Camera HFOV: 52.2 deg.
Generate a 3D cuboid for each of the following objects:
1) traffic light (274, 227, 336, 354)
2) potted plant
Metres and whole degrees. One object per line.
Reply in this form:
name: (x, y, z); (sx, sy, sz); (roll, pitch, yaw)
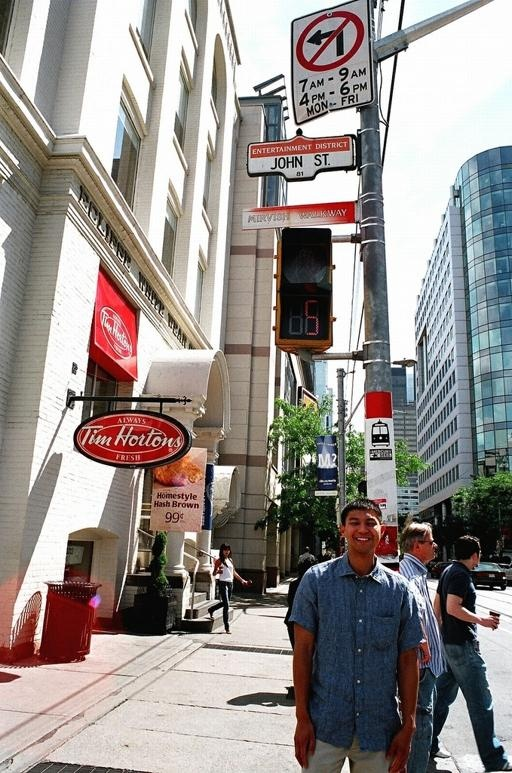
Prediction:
traffic light: (0.537, -1.072, 5.852); (0.605, 1.424, 0.358); (2, -18, 3)
potted plant: (-2.078, 4.032, 10.794); (0.677, 1.953, 0.983); (1, -14, 2)
